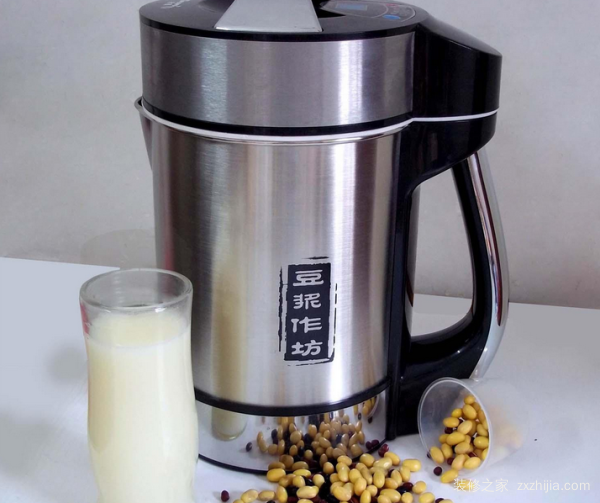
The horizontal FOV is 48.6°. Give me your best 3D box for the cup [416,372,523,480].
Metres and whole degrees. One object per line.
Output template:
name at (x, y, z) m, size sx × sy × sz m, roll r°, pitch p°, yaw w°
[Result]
cup at (0.170, 0.154, 0.665) m, size 0.077 × 0.104 × 0.069 m, roll 12°, pitch 10°, yaw 40°
